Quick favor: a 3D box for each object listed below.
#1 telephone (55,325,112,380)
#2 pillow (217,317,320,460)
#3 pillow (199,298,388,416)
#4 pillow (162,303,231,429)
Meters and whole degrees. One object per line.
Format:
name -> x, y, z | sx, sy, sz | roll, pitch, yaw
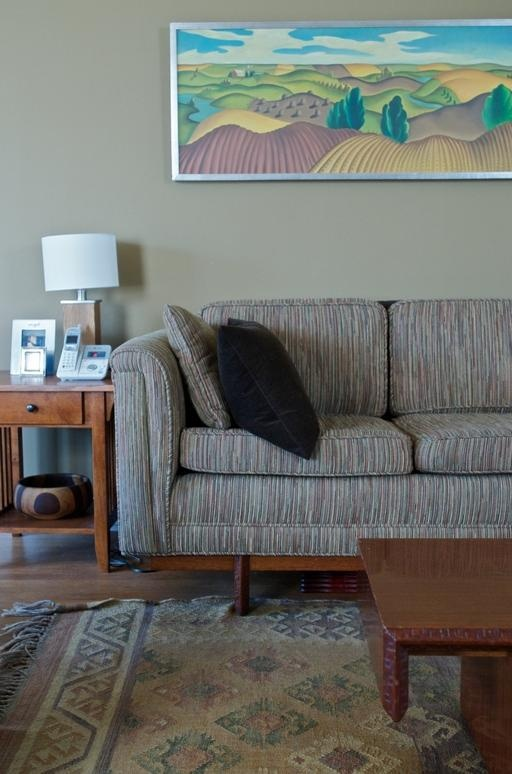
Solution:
telephone -> -0.559, -0.092, 2.135 | 0.168, 0.103, 0.232 | 1, 38, 0
pillow -> 0.032, 0.008, 1.655 | 0.247, 0.324, 0.168 | 0, 5, 4
pillow -> 0.124, -0.079, 1.956 | 0.366, 0.250, 0.130 | -2, 6, -8
pillow -> -0.148, -0.049, 1.787 | 0.094, 0.293, 0.315 | -18, -11, 17
